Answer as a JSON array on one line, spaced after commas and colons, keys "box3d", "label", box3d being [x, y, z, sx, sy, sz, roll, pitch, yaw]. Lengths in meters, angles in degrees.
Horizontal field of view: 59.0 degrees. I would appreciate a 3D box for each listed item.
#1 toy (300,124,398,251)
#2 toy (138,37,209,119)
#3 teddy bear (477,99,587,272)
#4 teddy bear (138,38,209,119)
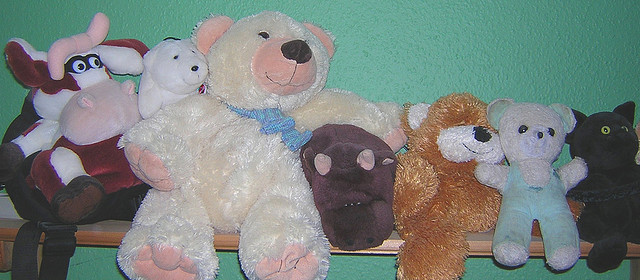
[{"box3d": [0.120, 0.183, 2.179, 0.422, 0.423, 0.177, -6, -3, -3], "label": "toy"}, {"box3d": [-0.579, -0.235, 2.261, 0.203, 0.194, 0.287, 27, 42, 37], "label": "toy"}, {"box3d": [0.832, 0.167, 2.223, 0.425, 0.668, 0.191, 2, 0, 10], "label": "teddy bear"}, {"box3d": [-0.579, -0.233, 2.261, 0.203, 0.181, 0.273, 31, 53, 23], "label": "teddy bear"}]
